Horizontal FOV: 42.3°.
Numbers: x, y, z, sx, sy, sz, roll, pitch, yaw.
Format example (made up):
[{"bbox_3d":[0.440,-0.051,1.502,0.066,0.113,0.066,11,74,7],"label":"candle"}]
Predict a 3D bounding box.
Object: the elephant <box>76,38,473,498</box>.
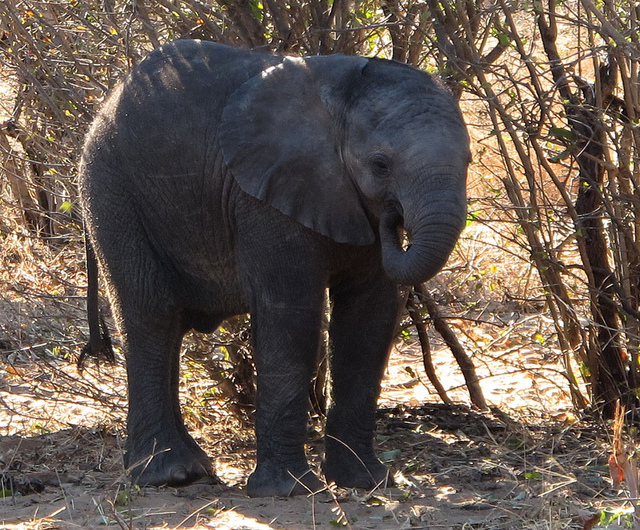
[{"bbox_3d":[-0.146,-0.015,3.393,1.709,1.893,0.646,-7,-11,26],"label":"elephant"}]
